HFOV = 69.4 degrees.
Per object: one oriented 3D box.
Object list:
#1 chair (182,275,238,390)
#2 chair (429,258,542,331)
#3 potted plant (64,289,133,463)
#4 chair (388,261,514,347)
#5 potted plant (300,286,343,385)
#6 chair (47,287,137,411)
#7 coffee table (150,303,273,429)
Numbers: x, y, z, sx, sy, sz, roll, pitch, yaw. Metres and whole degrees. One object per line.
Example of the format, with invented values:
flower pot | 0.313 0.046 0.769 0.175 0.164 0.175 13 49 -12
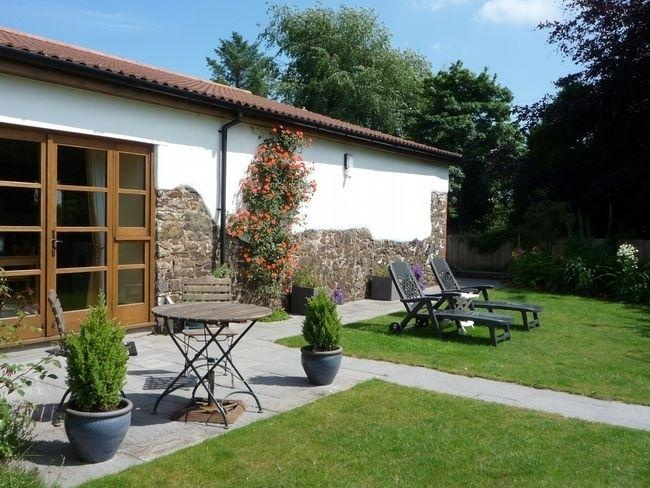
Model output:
chair | -1.527 1.087 6.215 0.722 1.160 0.563 22 -14 -31
chair | 3.097 0.915 9.121 1.932 1.311 0.858 -5 0 37
potted plant | -1.924 1.110 3.987 0.483 1.328 0.473 1 -4 -25
chair | 2.131 0.986 8.194 2.120 1.345 0.981 0 0 41
potted plant | -0.047 1.101 5.698 0.490 1.099 0.496 0 4 0
chair | -1.999 0.912 4.005 0.545 0.901 0.501 -7 5 -19
coffee table | -1.290 1.342 5.255 1.265 1.119 1.211 1 0 18
